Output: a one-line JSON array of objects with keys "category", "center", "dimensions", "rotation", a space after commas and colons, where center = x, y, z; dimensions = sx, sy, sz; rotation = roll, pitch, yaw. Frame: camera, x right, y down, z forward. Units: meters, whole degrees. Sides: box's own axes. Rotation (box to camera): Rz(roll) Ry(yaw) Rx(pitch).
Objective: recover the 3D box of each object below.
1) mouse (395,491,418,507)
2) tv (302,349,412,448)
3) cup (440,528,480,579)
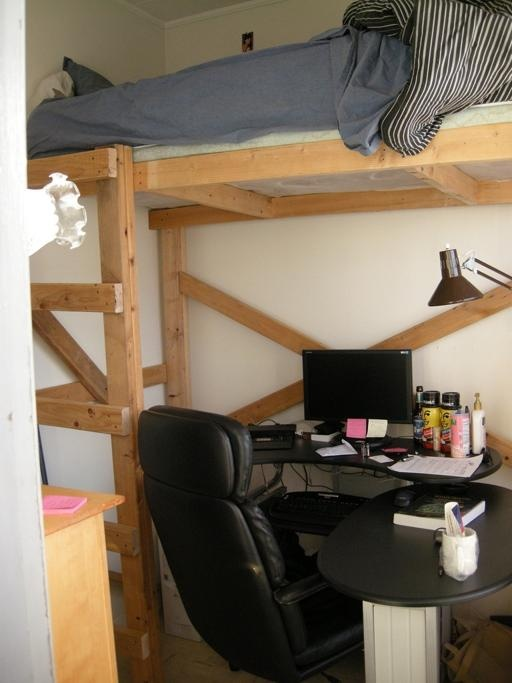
[{"category": "mouse", "center": [0.532, 0.553, 2.074], "dimensions": [0.051, 0.037, 0.070], "rotation": [4, -4, 20]}, {"category": "tv", "center": [0.484, 0.256, 2.718], "dimensions": [0.440, 0.306, 0.115], "rotation": [1, 2, 25]}, {"category": "cup", "center": [0.542, 0.554, 1.541], "dimensions": [0.122, 0.115, 0.088], "rotation": [-5, 5, -14]}]
